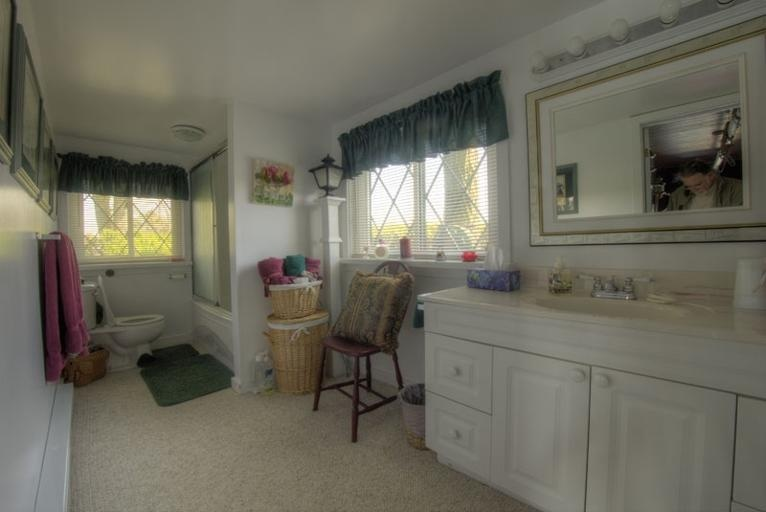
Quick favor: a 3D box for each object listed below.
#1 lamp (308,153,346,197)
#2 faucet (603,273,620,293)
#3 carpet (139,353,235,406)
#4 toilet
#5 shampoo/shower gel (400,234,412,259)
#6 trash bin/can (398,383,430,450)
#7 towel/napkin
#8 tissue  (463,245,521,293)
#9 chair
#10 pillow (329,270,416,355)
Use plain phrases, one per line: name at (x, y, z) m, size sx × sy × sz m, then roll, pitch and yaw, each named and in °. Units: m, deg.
lamp at (-0.477, -0.714, 4.628) m, size 0.309 × 0.345 × 0.264 m, roll -3°, pitch 5°, yaw -18°
faucet at (1.474, 0.178, 3.348) m, size 0.095 × 0.099 × 0.103 m, roll 1°, pitch 5°, yaw 26°
carpet at (-1.789, 1.121, 4.763) m, size 0.730 × 0.107 × 1.097 m, roll -4°, pitch 5°, yaw -30°
toilet at (-2.556, 0.618, 5.066) m, size 0.780 × 0.934 × 0.534 m, roll -1°, pitch 8°, yaw -33°
shampoo/shower gel at (0.187, -0.059, 4.256) m, size 0.135 × 0.239 × 0.139 m, roll 0°, pitch 3°, yaw -7°
trash bin/can at (0.226, 1.181, 3.740) m, size 0.272 × 0.306 × 0.293 m, roll 12°, pitch 9°, yaw 28°
towel/napkin at (-2.133, 0.344, 3.464) m, size 0.245 × 0.997 × 0.465 m, roll -5°, pitch 6°, yaw -31°
tissue  at (0.774, 0.084, 3.689) m, size 0.330 × 0.317 × 0.184 m, roll 2°, pitch -1°, yaw 30°
chair at (-0.159, 0.689, 4.030) m, size 0.734 × 1.182 × 0.678 m, roll 5°, pitch 9°, yaw 39°
pillow at (-0.082, 0.416, 4.017) m, size 0.620 × 0.645 × 0.183 m, roll 0°, pitch -27°, yaw 31°
